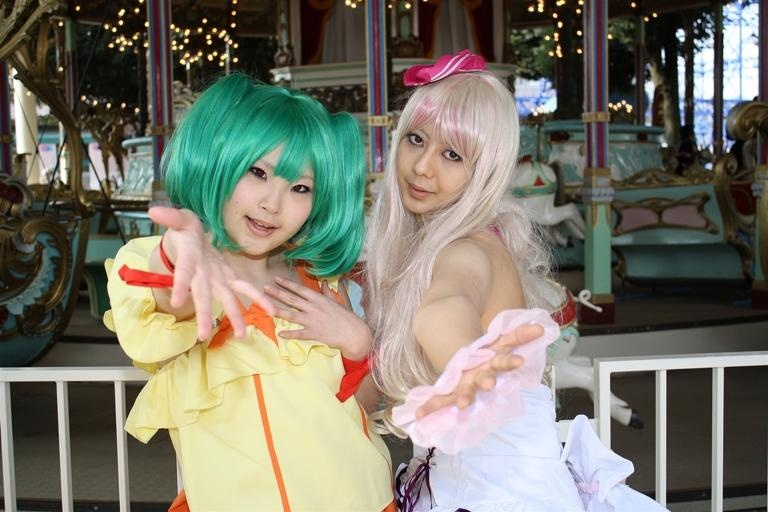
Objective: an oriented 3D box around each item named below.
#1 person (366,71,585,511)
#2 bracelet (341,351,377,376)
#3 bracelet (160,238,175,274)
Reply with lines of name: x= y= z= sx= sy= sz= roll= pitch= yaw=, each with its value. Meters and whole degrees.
person: x=0.249 y=0.120 z=1.990 sx=0.600 sy=1.318 sz=0.760 roll=-2 pitch=5 yaw=-3
bracelet: x=-0.083 y=0.323 z=2.124 sx=0.068 sy=0.058 sz=0.055 roll=-4 pitch=2 yaw=25
bracelet: x=-0.576 y=0.004 z=1.873 sx=0.017 sy=0.075 sz=0.052 roll=-7 pitch=-11 yaw=-40
